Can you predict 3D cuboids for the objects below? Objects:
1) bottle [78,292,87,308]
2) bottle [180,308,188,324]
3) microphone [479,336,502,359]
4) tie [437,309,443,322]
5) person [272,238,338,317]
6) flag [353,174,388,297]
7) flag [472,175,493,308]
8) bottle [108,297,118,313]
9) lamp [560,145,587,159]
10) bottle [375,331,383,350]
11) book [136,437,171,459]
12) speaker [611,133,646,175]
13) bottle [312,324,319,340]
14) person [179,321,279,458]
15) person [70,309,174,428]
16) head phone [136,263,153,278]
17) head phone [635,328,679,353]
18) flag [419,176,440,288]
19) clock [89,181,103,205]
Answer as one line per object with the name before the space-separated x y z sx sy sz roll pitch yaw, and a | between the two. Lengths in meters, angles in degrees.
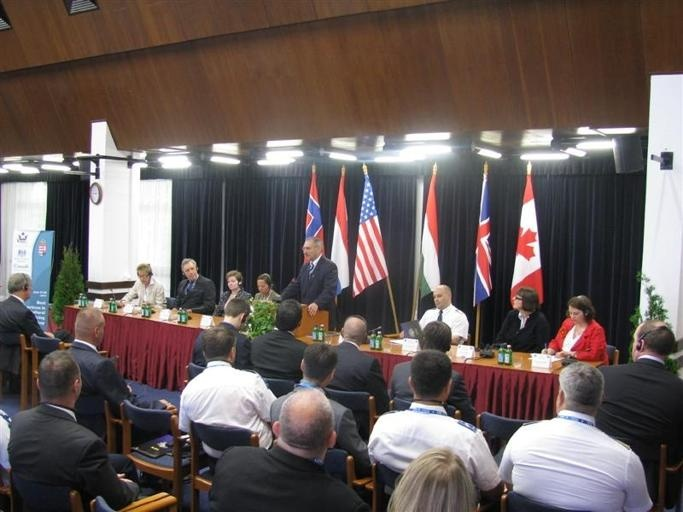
bottle | -3.944 0.674 9.007 0.145 0.251 0.162 1 -5 -16
bottle | -2.014 0.771 7.549 0.132 0.243 0.116 3 -4 -40
microphone | 1.677 1.039 6.728 0.139 0.226 0.512 -6 -17 17
tie | 1.100 0.672 6.666 0.032 0.048 0.152 -3 31 10
person | -0.407 0.531 7.855 0.692 1.517 0.734 -6 10 -39
flag | 0.425 -0.389 8.614 0.464 1.864 0.224 2 -2 2
flag | 1.982 -0.268 8.335 0.200 1.856 0.366 1 -2 12
bottle | -3.293 0.716 8.463 0.133 0.279 0.249 0 -5 -1
lamp | 2.987 -1.349 7.666 0.404 0.116 0.211 3 -6 -40
bottle | 0.402 0.913 6.421 0.080 0.183 0.269 2 -3 5
book | -1.461 1.521 4.700 0.144 0.042 0.147 7 7 36
speaker | 3.042 -1.104 6.328 0.293 0.407 0.279 1 -3 17
bottle | -0.283 0.850 6.479 0.061 0.131 0.231 2 -3 -13
person | -0.892 1.219 4.514 0.662 1.370 0.579 -6 22 -9
person | -2.162 1.137 5.996 0.747 1.483 0.721 10 15 33
head phone | -2.921 0.217 8.788 0.165 0.251 0.234 0 -4 -4
head phone | 2.368 0.622 4.472 0.157 0.216 0.217 8 16 -5
flag | 1.269 -0.332 8.511 0.244 1.768 0.333 1 -2 10
clock | -3.982 -1.018 9.609 0.052 0.390 0.328 -2 14 -39
